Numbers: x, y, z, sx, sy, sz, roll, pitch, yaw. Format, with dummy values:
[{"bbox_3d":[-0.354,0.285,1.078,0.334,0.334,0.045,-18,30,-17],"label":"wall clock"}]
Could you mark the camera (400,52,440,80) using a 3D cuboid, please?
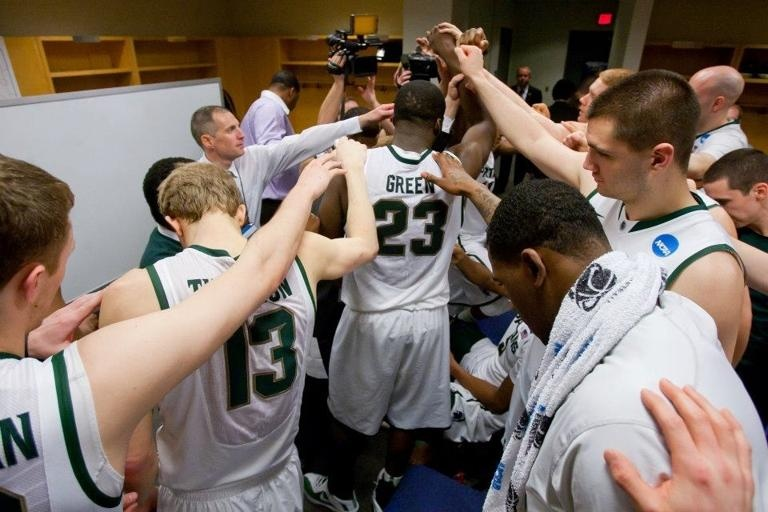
[{"bbox_3d":[0.231,-1.171,3.374,0.239,0.154,0.264,3,54,3],"label":"camera"}]
